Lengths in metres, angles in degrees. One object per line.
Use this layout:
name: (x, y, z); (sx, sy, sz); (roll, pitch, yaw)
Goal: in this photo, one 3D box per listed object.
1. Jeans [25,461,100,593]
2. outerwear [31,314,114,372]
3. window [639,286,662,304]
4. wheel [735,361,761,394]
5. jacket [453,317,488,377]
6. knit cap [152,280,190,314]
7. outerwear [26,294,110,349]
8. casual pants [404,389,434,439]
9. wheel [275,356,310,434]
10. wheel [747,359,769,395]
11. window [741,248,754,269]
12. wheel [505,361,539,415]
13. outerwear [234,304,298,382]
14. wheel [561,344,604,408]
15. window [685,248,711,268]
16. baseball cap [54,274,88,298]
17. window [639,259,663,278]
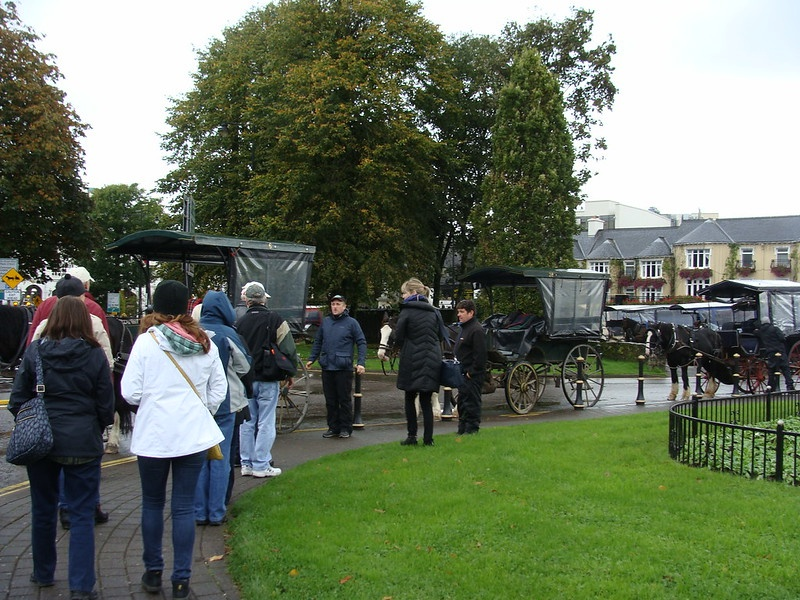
Jeans: (-3.381, 2.247, 8.541); (0.695, 1.307, 0.398); (1, -3, -5)
outerwear: (-3.384, 0.455, 8.742); (0.657, 0.562, 0.335); (0, -12, -5)
window: (22.287, -0.414, 75.262); (1.636, 1.462, 0.533); (-3, -8, 44)
wheel: (9.272, 2.040, 22.626); (0.762, 0.736, 0.807); (-2, -7, 0)
jacket: (1.162, 0.802, 14.079); (0.618, 0.960, 1.069); (-2, -2, -19)
knit cap: (-2.300, 0.007, 8.570); (0.280, 0.284, 0.363); (5, 37, -28)
outerwear: (-4.105, 0.441, 10.487); (1.072, 0.931, 0.627); (-1, 1, -17)
casual pants: (0.225, 1.743, 13.229); (0.399, 1.116, 0.632); (3, -4, -13)
wheel: (-1.833, 1.672, 14.474); (0.151, 1.387, 1.422); (2, 4, 25)
wheel: (9.571, 2.038, 22.719); (0.230, 0.946, 0.978); (1, 1, 45)
window: (29.872, -3.545, 72.939); (1.118, 1.863, 0.480); (-1, -3, 20)
wheel: (2.514, 1.799, 17.464); (1.097, 1.060, 0.670); (2, -3, -44)
outerwear: (-1.975, 0.636, 11.951); (1.102, 1.039, 0.512); (0, -5, 22)
wheel: (4.067, 1.687, 18.732); (1.455, 1.397, 0.235); (5, -7, -39)
window: (26.325, -3.597, 74.745); (1.873, 1.586, 0.212); (0, -2, 34)
baseball cap: (-3.621, -0.165, 9.351); (0.283, 0.205, 0.376); (-1, 26, -8)
window: (22.673, -2.774, 76.465); (0.133, 1.474, 1.736); (1, -4, -45)
